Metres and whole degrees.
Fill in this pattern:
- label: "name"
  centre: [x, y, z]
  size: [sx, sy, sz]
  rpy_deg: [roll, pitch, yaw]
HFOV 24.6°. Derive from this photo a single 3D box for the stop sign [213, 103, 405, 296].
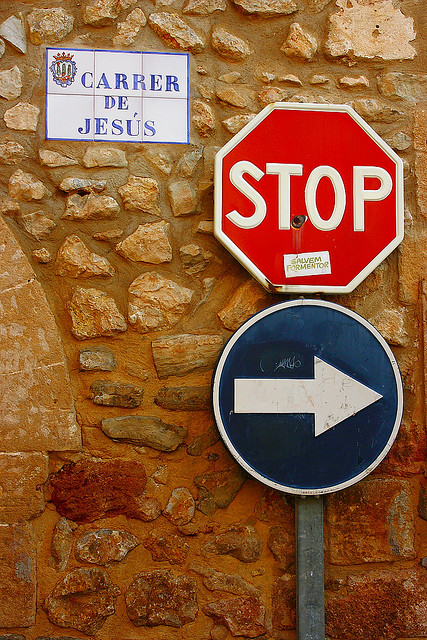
- label: "stop sign"
  centre: [0.315, -0.425, 3.485]
  size: [0.762, 0.121, 0.654]
  rpy_deg: [1, 84, -8]
